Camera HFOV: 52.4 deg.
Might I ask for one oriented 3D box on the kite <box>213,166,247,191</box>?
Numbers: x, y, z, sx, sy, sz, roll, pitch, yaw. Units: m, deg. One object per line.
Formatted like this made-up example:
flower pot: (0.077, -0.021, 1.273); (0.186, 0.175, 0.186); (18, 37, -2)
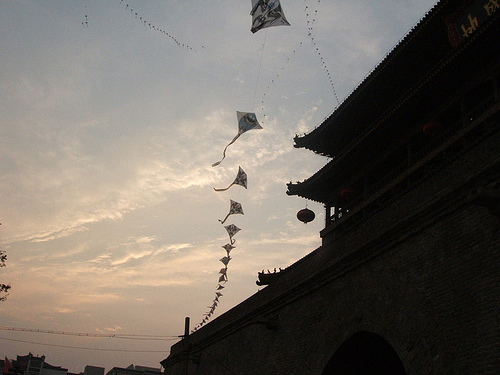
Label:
kite: (-0.236, -0.177, 10.766); (0.368, 0.402, 0.378); (-26, -1, 20)
